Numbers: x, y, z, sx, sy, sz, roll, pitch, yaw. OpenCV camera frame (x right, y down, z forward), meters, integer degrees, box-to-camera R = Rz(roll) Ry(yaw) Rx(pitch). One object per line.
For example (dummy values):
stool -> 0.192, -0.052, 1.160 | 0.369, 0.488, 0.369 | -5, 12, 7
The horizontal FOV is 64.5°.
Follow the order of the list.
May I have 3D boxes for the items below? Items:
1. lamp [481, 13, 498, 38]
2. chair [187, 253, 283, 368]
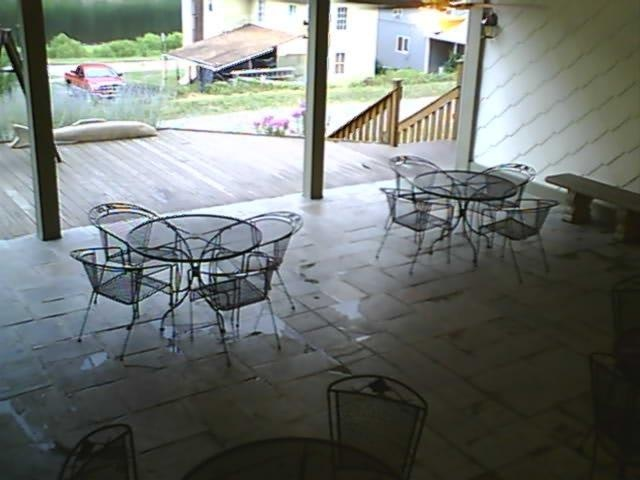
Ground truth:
lamp -> 2.648, -3.309, 7.810 | 0.272, 0.368, 0.125 | 6, 25, 10
chair -> -0.717, 0.483, 4.324 | 0.715, 0.832, 0.850 | -2, 23, -10
